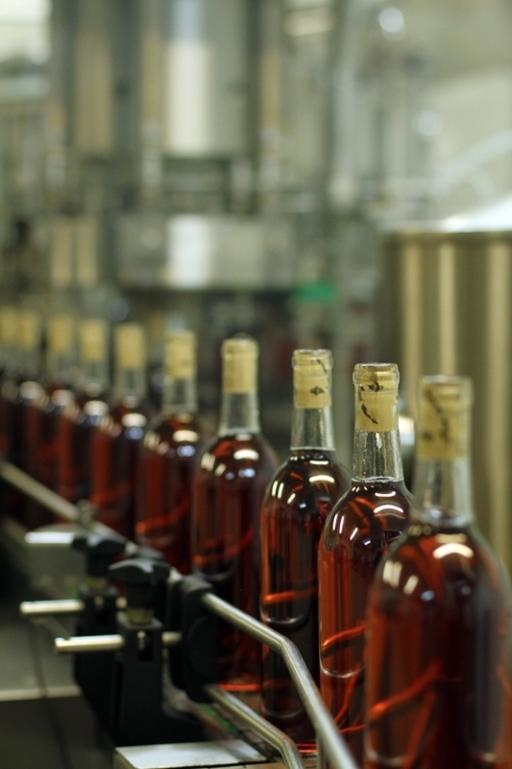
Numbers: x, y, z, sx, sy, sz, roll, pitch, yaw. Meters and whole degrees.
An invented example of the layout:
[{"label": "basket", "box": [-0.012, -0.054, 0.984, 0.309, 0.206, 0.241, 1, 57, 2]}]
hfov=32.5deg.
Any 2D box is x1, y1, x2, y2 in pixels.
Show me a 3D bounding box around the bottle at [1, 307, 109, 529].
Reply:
[{"label": "bottle", "box": [-0.265, 0.031, 1.181, 0.073, 0.194, 0.254, -2, 1, -35]}]
